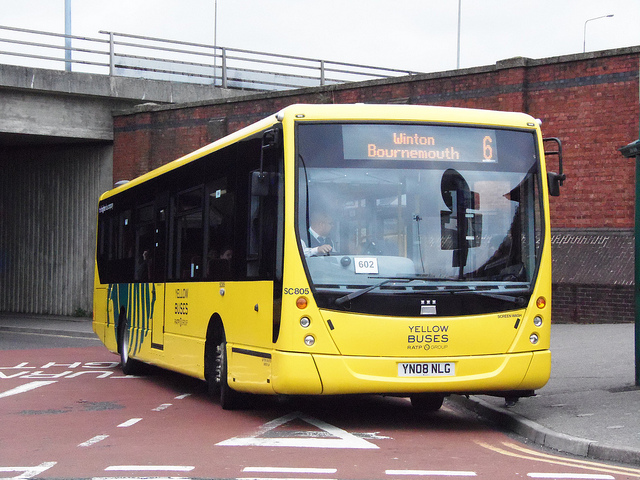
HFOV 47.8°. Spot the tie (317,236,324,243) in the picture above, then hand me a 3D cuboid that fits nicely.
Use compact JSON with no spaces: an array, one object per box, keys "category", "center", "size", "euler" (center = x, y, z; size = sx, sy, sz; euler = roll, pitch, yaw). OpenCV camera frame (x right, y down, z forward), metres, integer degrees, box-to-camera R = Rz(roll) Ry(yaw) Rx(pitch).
[{"category":"tie","center":[0.008,-0.011,8.337],"size":[0.066,0.072,0.023],"euler":[0,1,27]}]

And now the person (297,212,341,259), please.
[{"category":"person","center":[-0.027,-0.050,8.344],"size":[0.364,0.550,0.758],"euler":[-4,-1,5]}]

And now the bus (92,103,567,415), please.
[{"category":"bus","center":[-0.539,0.316,10.285],"size":[2.746,4.049,7.054],"euler":[-1,1,-44]}]
